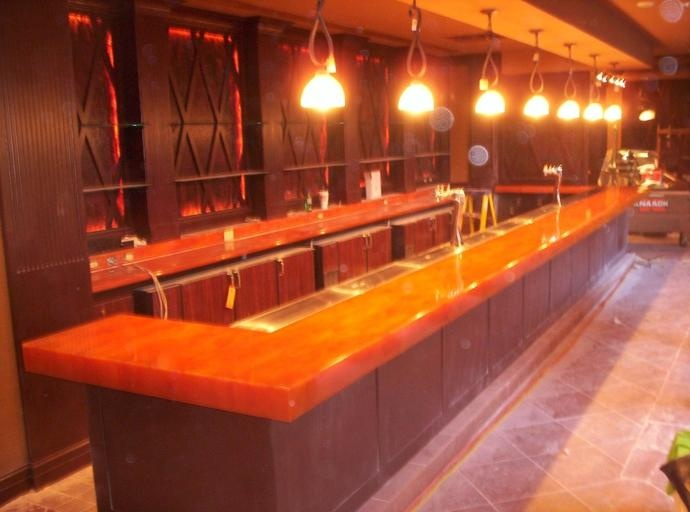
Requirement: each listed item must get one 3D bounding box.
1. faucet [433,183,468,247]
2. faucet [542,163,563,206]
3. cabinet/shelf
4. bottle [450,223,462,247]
[{"bbox_3d":[0.878,-0.328,4.921,0.272,0.506,0.266,0,-2,15],"label":"faucet"},{"bbox_3d":[2.575,-0.883,7.152,0.194,0.627,0.132,-4,32,11],"label":"faucet"},{"bbox_3d":[-0.339,0.078,6.122,0.389,0.740,4.761,6,15,34],"label":"cabinet/shelf"},{"bbox_3d":[0.969,-0.196,4.922,0.098,0.188,0.254,0,13,12],"label":"bottle"}]
